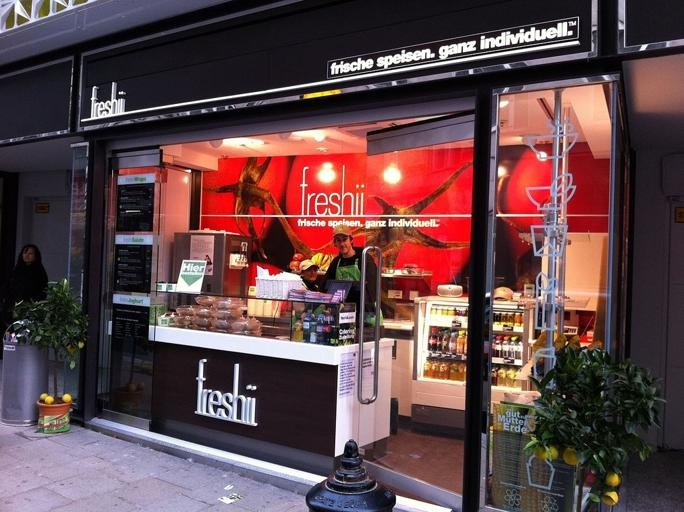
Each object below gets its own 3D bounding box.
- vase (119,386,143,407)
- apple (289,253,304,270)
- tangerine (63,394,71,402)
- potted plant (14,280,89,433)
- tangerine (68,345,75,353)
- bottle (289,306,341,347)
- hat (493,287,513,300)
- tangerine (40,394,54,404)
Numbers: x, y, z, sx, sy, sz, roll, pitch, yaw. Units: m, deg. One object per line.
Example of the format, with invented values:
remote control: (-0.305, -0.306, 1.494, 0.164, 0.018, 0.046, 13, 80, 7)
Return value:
vase: (-2.261, 1.505, 6.105, 0.234, 0.157, 0.241, 1, 0, 10)
apple: (-0.706, 0.101, 8.668, 0.228, 0.318, 0.230, 8, -7, -12)
tangerine: (-2.935, 1.527, 6.074, 0.084, 0.086, 0.078, -1, -1, -15)
potted plant: (-3.149, 1.124, 6.162, 0.724, 1.594, 0.824, -18, -16, 22)
tangerine: (-2.880, 1.001, 6.062, 0.072, 0.070, 0.043, -16, 16, -11)
bottle: (-0.244, 0.608, 5.054, 0.553, 0.414, 0.302, 1, -1, 21)
hat: (1.160, 0.278, 4.133, 0.113, 0.098, 0.098, 0, 18, 18)
tangerine: (-3.112, 1.512, 6.005, 0.082, 0.066, 0.143, 12, 4, -32)
